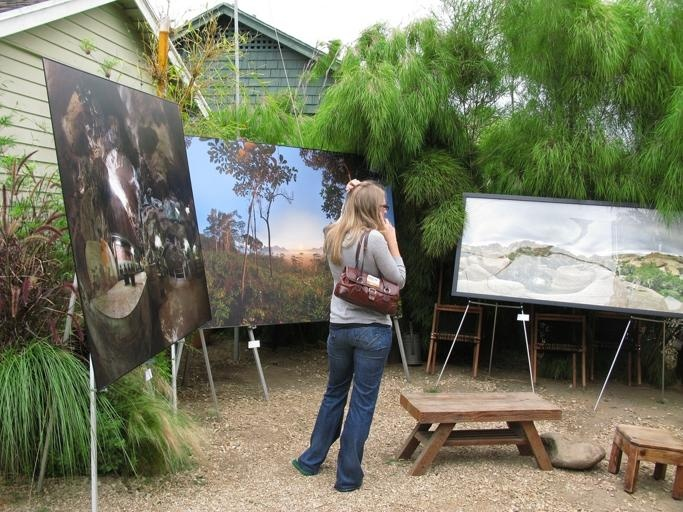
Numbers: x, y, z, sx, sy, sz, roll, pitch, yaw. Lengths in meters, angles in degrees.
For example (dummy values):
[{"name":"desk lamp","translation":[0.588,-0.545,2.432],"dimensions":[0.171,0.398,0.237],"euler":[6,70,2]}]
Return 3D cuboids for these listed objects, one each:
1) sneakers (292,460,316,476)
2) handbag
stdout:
[{"name":"sneakers","translation":[-0.301,1.663,4.218],"dimensions":[0.185,0.079,0.091],"euler":[38,10,27]},{"name":"handbag","translation":[0.177,0.119,3.954],"dimensions":[0.400,0.599,0.129],"euler":[19,-29,-12]}]
